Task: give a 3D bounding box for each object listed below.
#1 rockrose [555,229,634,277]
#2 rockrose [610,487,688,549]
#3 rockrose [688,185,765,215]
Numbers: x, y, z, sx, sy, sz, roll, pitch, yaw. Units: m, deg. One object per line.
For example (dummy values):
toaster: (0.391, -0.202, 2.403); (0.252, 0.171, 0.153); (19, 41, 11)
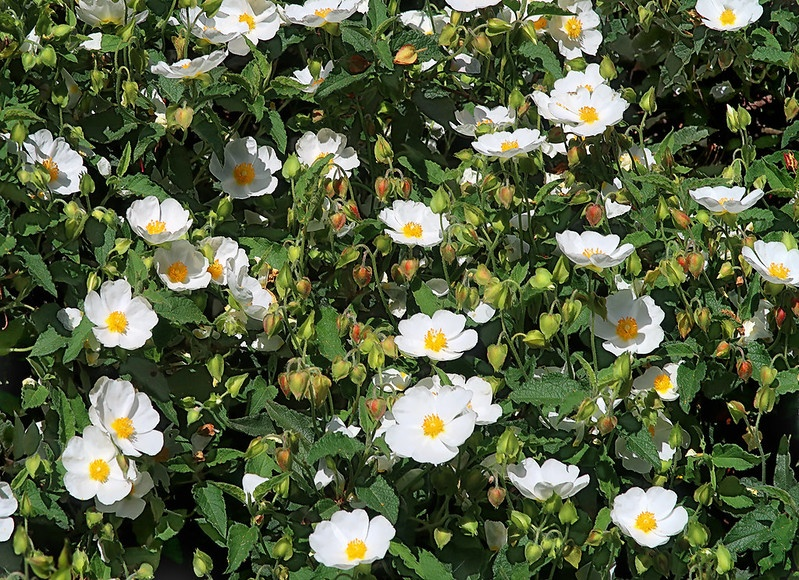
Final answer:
rockrose: (0.531, -0.132, 2.007); (0.156, 0.151, 0.072); (2, 99, -17)
rockrose: (0.623, 0.576, 1.875); (0.193, 0.189, 0.080); (-22, 94, -33)
rockrose: (0.894, -0.250, 2.023); (0.120, 0.130, 0.048); (-2, 109, -16)
